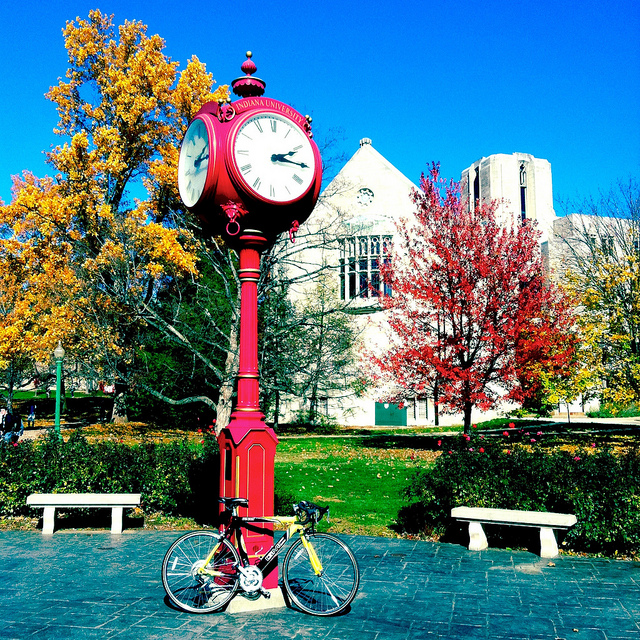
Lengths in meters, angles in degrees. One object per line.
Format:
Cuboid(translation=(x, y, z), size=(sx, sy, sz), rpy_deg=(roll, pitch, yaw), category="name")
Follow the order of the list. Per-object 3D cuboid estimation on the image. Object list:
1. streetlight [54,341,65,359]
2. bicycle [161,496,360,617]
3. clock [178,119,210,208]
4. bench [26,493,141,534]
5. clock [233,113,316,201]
Cuboid(translation=(-6.563, 0.750, 21.273), size=(0.211, 0.426, 0.671), rpy_deg=(1, 0, -17), category="streetlight")
Cuboid(translation=(-0.681, 2.648, 9.747), size=(2.192, 1.270, 1.050), rpy_deg=(1, 1, -2), category="bicycle")
Cuboid(translation=(-1.551, -1.893, 10.312), size=(0.191, 1.066, 1.075), rpy_deg=(1, 0, -21), category="clock")
Cuboid(translation=(-3.522, 2.903, 12.945), size=(1.711, 0.640, 0.839), rpy_deg=(1, 0, 2), category="bench")
Cuboid(translation=(-0.567, -1.943, 10.074), size=(1.232, 1.059, 0.132), rpy_deg=(0, 1, -39), category="clock")
